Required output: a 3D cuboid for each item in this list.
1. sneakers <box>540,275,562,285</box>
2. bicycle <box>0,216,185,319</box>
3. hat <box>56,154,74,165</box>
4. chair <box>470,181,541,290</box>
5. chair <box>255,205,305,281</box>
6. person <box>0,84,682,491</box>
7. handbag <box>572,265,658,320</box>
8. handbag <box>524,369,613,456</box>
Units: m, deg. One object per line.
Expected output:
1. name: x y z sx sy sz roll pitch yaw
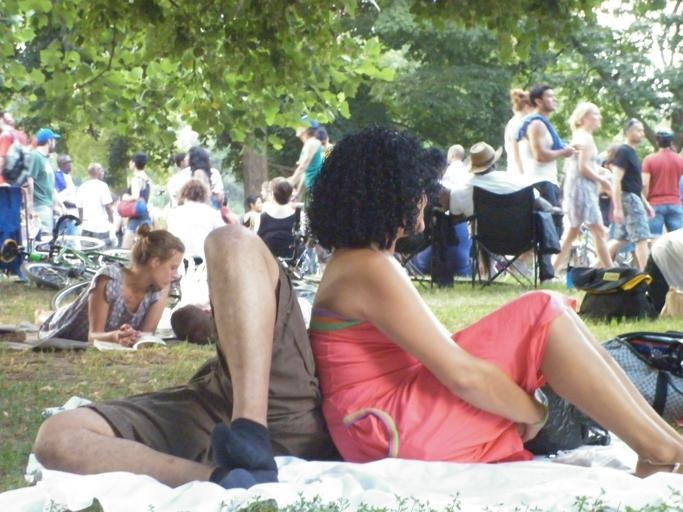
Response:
1. sneakers: 2.330 0.265 10.216 0.284 0.124 0.090 0 -3 -21
2. bicycle: -3.503 0.073 11.167 0.892 0.997 1.519 0 -1 31
3. hat: -4.066 -1.394 13.367 0.174 0.196 0.142 -11 14 3
4. chair: 1.777 -0.194 9.806 0.762 1.229 0.878 1 5 28
5. chair: -0.841 -0.119 11.893 0.602 0.512 0.817 -8 10 -27
6. person: -0.020 0.237 4.426 2.949 1.203 1.466 5 27 -1
7. handbag: 2.230 0.303 7.531 0.570 0.389 0.413 2 5 41
8. handbag: 1.191 0.870 4.694 0.441 0.167 0.330 34 2 -16
